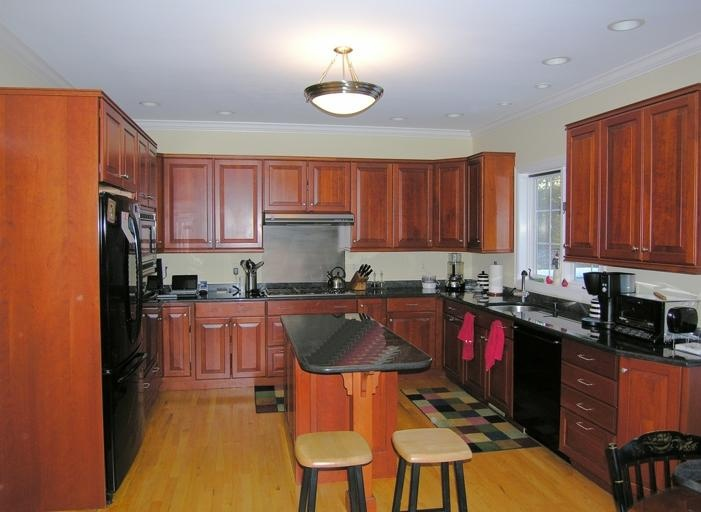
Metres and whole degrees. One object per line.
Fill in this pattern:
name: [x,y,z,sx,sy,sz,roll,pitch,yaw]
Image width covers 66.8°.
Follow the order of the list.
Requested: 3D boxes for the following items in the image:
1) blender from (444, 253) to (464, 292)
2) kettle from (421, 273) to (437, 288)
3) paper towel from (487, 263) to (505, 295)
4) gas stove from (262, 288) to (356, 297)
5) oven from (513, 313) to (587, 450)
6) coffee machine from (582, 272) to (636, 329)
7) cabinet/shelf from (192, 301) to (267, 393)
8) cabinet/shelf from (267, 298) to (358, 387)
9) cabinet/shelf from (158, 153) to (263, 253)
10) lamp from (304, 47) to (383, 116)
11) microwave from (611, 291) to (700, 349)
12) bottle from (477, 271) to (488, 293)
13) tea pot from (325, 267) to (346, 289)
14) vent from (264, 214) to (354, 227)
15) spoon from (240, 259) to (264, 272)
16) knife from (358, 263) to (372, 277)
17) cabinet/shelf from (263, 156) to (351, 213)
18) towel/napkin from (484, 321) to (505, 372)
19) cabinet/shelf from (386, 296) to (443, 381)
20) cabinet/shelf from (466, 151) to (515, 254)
blender: [1.305,0.191,6.616,0.216,0.389,0.678,2,8,10]
kettle: [0.970,0.312,6.563,0.160,0.127,0.157,0,0,-9]
paper towel: [1.683,0.256,6.130,0.172,0.324,0.327,3,9,16]
gas stove: [-0.511,0.424,6.250,1.040,0.053,0.593,-1,8,-9]
oven: [1.636,1.075,4.809,0.781,1.128,0.802,1,1,-6]
coffee machine: [2.133,0.356,4.360,0.416,0.433,0.258,-2,4,15]
cabinet/shelf: [-1.366,0.968,5.838,1.027,1.203,0.592,0,1,-13]
cabinet/shelf: [-0.420,0.933,5.981,1.070,0.890,0.369,-4,-25,24]
cabinet/shelf: [-1.672,-0.598,6.220,1.197,1.061,0.446,-4,11,-33]
lamp: [-0.043,-1.298,3.867,0.560,0.414,0.550,-3,9,-9]
microwave: [2.276,0.463,3.910,0.362,0.303,0.476,1,1,-14]
bottle: [1.577,0.313,6.315,0.106,0.218,0.193,0,9,2]
tea pot: [-0.156,0.266,6.523,0.218,0.274,0.269,-5,10,-36]
vent: [-0.470,-0.419,6.159,1.054,0.147,0.166,-2,9,-12]
spoon: [-1.164,0.113,6.327,0.294,0.156,0.266,-1,8,-11]
knife: [0.184,0.168,6.614,0.136,0.123,0.277,3,9,17]
cabinet/shelf: [-0.502,-0.824,6.209,0.997,0.595,0.162,-2,9,-16]
towel/napkin: [1.355,0.875,5.041,0.141,0.559,0.330,-1,9,-7]
cabinet/shelf: [0.771,0.888,6.175,0.803,1.095,0.743,0,-1,-10]
cabinet/shelf: [1.589,-0.599,6.011,0.453,1.114,0.476,0,9,-1]
